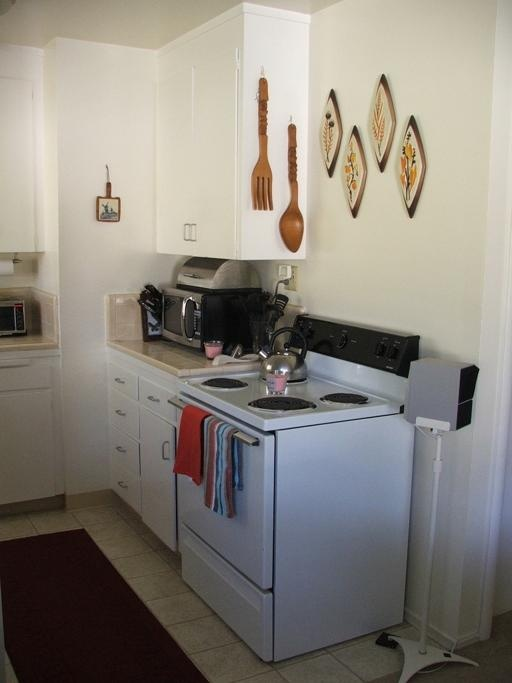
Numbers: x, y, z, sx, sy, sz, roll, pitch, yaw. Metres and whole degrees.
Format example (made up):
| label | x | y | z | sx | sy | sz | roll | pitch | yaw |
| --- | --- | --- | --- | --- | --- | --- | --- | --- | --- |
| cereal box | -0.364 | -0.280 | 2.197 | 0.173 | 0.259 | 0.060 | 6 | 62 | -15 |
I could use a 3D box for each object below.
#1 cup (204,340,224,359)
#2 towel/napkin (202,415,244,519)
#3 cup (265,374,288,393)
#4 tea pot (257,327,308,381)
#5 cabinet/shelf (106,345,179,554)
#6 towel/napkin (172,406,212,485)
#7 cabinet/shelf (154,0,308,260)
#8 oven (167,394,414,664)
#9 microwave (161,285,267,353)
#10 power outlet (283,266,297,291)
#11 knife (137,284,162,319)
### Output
| label | x | y | z | sx | sy | sz | roll | pitch | yaw |
| --- | --- | --- | --- | --- | --- | --- | --- | --- | --- |
| cup | -0.193 | 0.040 | 2.514 | 0.064 | 0.073 | 0.074 | 0 | -4 | 35 |
| towel/napkin | -0.101 | 0.400 | 1.753 | 0.061 | 0.444 | 0.297 | -1 | 5 | -23 |
| cup | 0.080 | 0.147 | 1.974 | 0.060 | 0.066 | 0.061 | 1 | 4 | 0 |
| tea pot | 0.096 | 0.056 | 2.239 | 0.209 | 0.234 | 0.163 | 5 | 15 | 11 |
| cabinet/shelf | -0.471 | 0.487 | 2.764 | 0.338 | 0.851 | 0.732 | -7 | 14 | -39 |
| towel/napkin | -0.221 | 0.371 | 1.933 | 0.086 | 0.356 | 0.281 | 0 | 7 | -19 |
| cabinet/shelf | -0.083 | -0.924 | 2.362 | 0.290 | 1.000 | 0.911 | -1 | 8 | -20 |
| oven | 0.075 | 0.572 | 1.967 | 0.457 | 0.766 | 0.587 | -2 | 2 | -28 |
| microwave | -0.298 | -0.111 | 2.795 | 0.301 | 0.327 | 0.442 | -5 | 11 | -37 |
| power outlet | 0.165 | -0.297 | 2.559 | 0.010 | 0.126 | 0.097 | -1 | 5 | -21 |
| knife | -0.579 | -0.223 | 3.034 | 0.051 | 0.129 | 0.186 | -8 | 57 | -48 |
